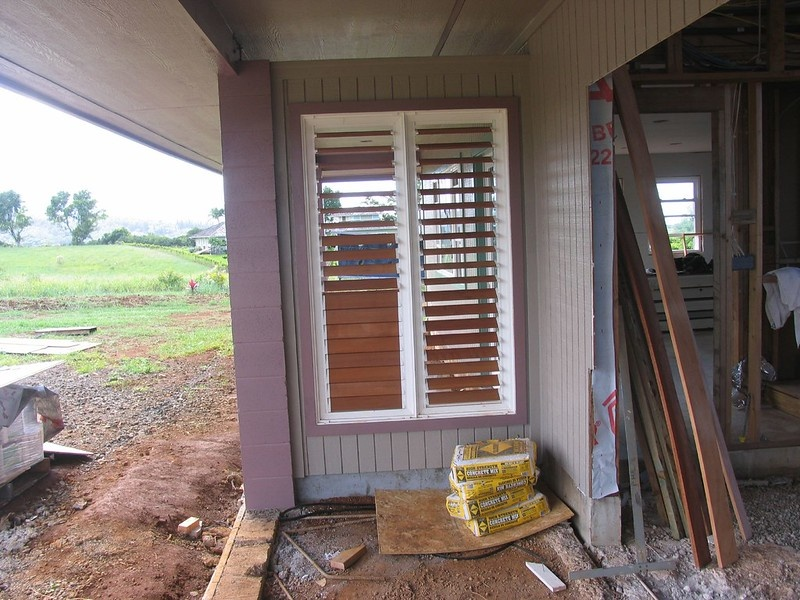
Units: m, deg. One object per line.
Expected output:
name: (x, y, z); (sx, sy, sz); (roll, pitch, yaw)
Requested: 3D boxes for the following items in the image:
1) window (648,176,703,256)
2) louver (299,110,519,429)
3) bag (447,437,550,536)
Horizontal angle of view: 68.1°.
window: (5.548, -1.658, 11.706); (0.730, 1.490, 0.992); (-3, 5, 27)
louver: (0.083, -0.256, 4.662); (1.650, 2.440, 0.439); (-4, 5, 6)
bag: (0.720, 1.267, 4.379); (0.636, 0.428, 0.614); (-6, 9, -19)
